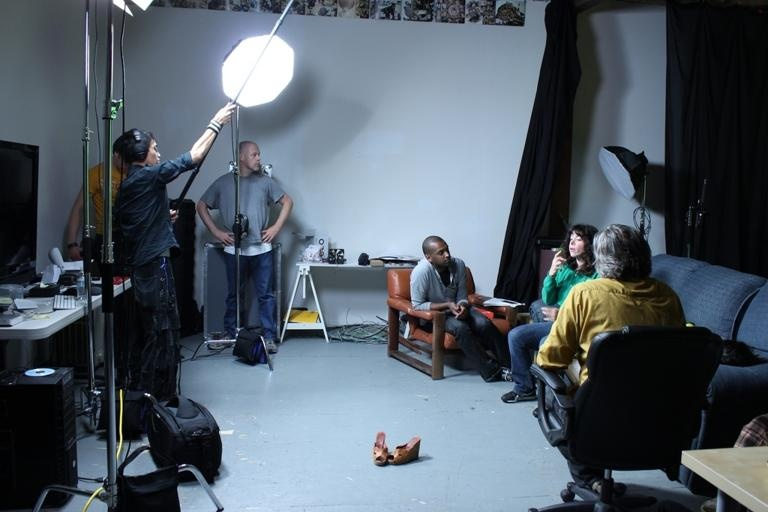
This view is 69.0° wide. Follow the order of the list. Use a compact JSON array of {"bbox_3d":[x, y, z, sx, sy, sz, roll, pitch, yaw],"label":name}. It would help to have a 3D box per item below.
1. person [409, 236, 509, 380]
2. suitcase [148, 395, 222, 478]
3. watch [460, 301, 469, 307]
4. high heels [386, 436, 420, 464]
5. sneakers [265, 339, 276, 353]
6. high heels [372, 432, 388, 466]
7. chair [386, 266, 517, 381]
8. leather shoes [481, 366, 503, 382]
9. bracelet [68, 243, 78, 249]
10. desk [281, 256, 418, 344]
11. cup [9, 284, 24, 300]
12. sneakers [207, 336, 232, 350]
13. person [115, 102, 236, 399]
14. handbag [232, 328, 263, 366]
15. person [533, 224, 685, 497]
[{"bbox_3d":[0.686,0.485,5.110,0.616,1.212,0.880,-9,17,-36],"label":"person"},{"bbox_3d":[-1.393,1.152,3.857,0.425,0.444,0.720,1,9,-38],"label":"suitcase"},{"bbox_3d":[0.733,0.453,5.185,0.043,0.041,0.044,2,0,1],"label":"watch"},{"bbox_3d":[0.137,1.350,3.849,0.285,0.125,0.102,3,-5,-38],"label":"high heels"},{"bbox_3d":[-1.146,0.926,5.685,0.096,0.053,0.138,2,12,-3],"label":"sneakers"},{"bbox_3d":[-0.028,1.338,3.876,0.091,0.056,0.291,1,29,2],"label":"high heels"},{"bbox_3d":[0.630,0.615,5.483,1.050,0.922,1.085,-2,5,-17],"label":"chair"},{"bbox_3d":[0.969,1.073,5.095,0.200,0.142,0.094,-3,17,-8],"label":"leather shoes"},{"bbox_3d":[-2.716,-0.085,4.882,0.052,0.036,0.054,-6,0,6],"label":"bracelet"},{"bbox_3d":[-0.389,0.497,6.159,1.375,0.894,0.459,2,10,-8],"label":"desk"},{"bbox_3d":[-2.464,0.250,3.769,0.083,0.094,0.098,0,12,-23],"label":"cup"},{"bbox_3d":[-1.699,0.907,5.765,0.212,0.121,0.092,-1,-15,-6],"label":"sneakers"},{"bbox_3d":[-1.755,0.088,4.287,0.589,2.041,0.838,11,17,33],"label":"person"},{"bbox_3d":[-1.337,0.844,5.313,0.104,0.245,0.288,9,-13,35],"label":"handbag"},{"bbox_3d":[1.380,0.587,3.515,0.824,1.551,0.784,-6,10,-28],"label":"person"}]
